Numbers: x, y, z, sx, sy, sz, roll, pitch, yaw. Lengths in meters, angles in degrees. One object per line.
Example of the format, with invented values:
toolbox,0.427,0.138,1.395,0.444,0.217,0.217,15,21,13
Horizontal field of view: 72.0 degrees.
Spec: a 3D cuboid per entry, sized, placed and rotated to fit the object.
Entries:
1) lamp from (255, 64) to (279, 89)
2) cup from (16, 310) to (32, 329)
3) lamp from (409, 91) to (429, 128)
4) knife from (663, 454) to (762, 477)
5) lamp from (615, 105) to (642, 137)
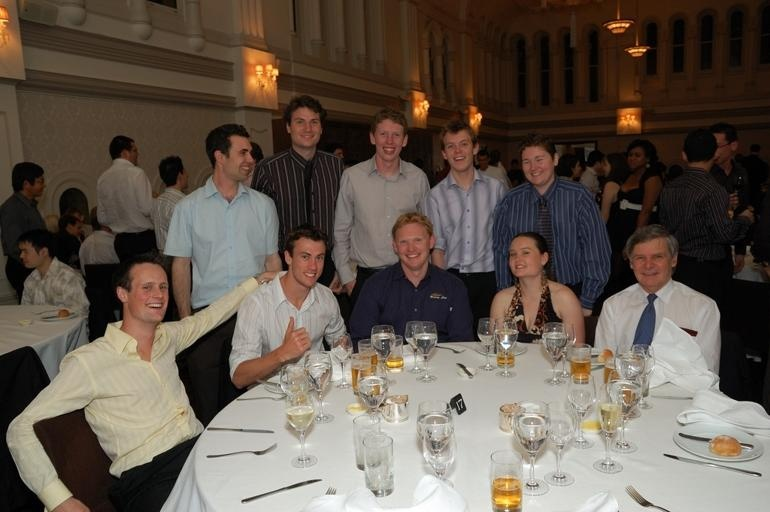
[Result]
lamp,-1.956,-2.936,8.668,0.091,0.372,0.418,4,19,21
cup,-2.652,0.478,3.905,0.091,0.070,0.097,2,0,0
lamp,0.795,-3.562,12.949,0.213,0.702,0.697,-2,33,16
knife,1.287,0.820,2.065,0.236,0.013,0.032,7,28,23
lamp,7.705,-4.284,16.716,0.814,1.048,0.318,1,9,23
